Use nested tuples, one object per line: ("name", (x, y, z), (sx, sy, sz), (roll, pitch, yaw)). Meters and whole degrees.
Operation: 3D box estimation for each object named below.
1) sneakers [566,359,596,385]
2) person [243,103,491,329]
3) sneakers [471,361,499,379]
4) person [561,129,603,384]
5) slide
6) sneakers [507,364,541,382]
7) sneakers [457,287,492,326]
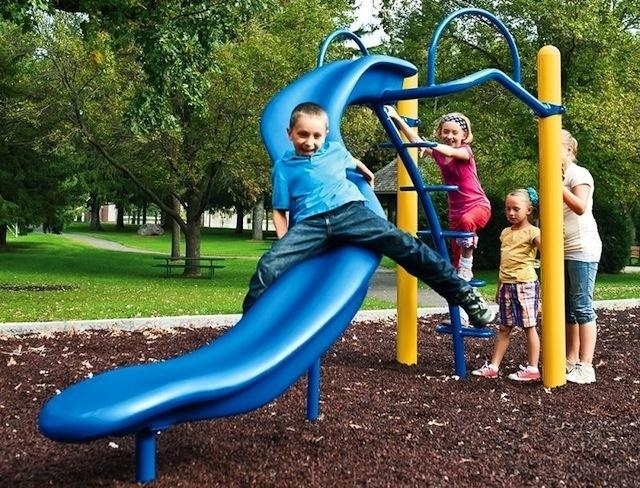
("sneakers", (2.337, 1.190, 6.430), (0.375, 0.177, 0.138), (5, -7, -22))
("person", (0.154, -0.229, 4.970), (1.513, 1.718, 0.641), (-6, -38, -19))
("sneakers", (1.571, 1.205, 6.669), (0.276, 0.139, 0.111), (5, -2, 18))
("person", (2.397, 0.120, 6.459), (0.392, 2.314, 0.527), (2, 9, 19))
("slide", (-0.154, 0.000, 5.027), (1.439, 0.561, 3.496), (18, 43, 16))
("sneakers", (1.905, 1.213, 6.541), (0.329, 0.142, 0.123), (1, -1, 3))
("sneakers", (1.112, 0.434, 5.268), (0.174, 0.151, 0.406), (40, 2, -22))
